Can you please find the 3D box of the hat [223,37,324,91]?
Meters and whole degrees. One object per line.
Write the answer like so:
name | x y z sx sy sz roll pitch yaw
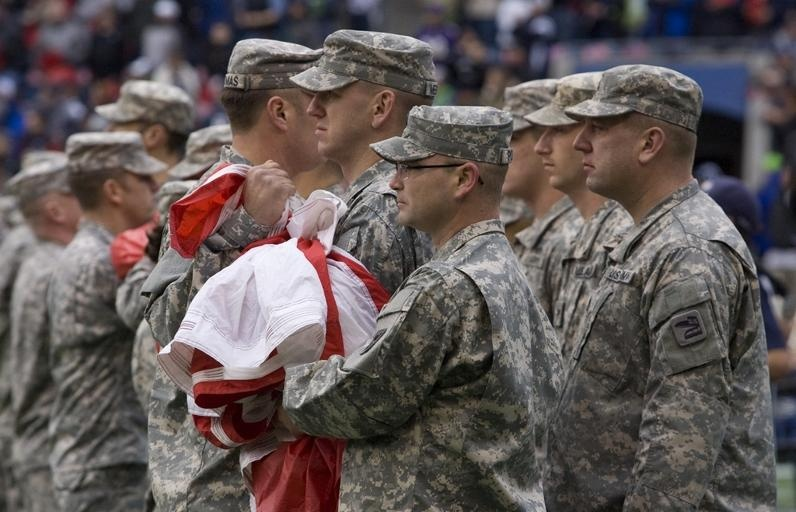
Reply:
hat | -1.131 -1.675 15.809 0.631 0.253 0.477 -4 2 -13

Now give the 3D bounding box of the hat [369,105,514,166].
hat | 0.351 -1.049 15.484 1.317 0.495 0.835 0 8 -4

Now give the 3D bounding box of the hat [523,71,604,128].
hat | 1.508 -1.444 16.539 0.663 0.244 0.433 -9 2 -17

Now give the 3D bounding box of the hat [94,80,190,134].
hat | -2.549 -1.490 18.396 0.909 0.550 0.417 -9 27 -8

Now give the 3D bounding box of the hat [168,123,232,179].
hat | -1.921 -0.978 17.626 0.713 0.430 0.585 -15 29 -20

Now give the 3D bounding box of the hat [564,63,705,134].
hat | 2.141 -1.392 15.614 0.843 0.433 0.650 0 3 1
